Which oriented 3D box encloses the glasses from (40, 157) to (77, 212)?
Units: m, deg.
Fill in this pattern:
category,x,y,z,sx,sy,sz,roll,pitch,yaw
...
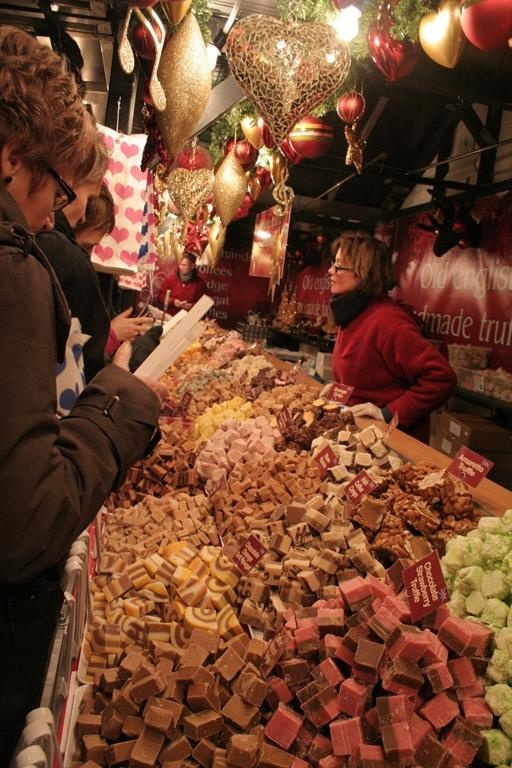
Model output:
category,x,y,z,sx,sy,sz,roll,pitch,yaw
glasses,-0.294,-0.303,0.757,0.015,0.054,0.051,-32,9,-16
